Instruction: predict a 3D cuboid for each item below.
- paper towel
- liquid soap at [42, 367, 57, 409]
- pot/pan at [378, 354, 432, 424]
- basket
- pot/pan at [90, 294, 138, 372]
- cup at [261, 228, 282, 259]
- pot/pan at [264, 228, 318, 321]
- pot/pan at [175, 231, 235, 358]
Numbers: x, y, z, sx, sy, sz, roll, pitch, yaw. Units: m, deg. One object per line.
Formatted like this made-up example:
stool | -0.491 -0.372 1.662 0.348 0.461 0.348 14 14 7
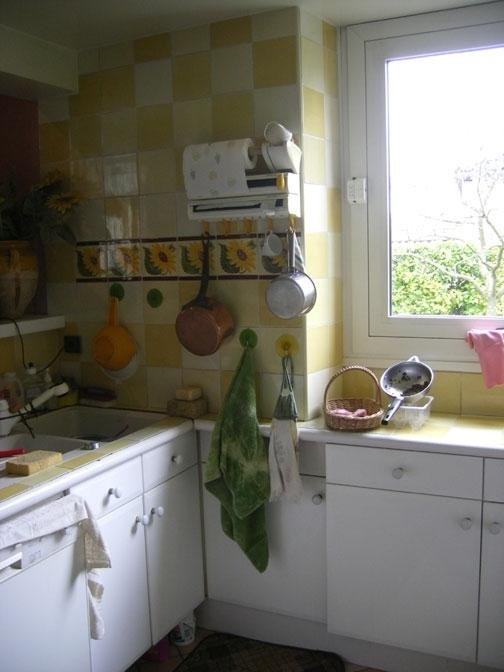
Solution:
paper towel | -0.105 -0.498 1.726 0.233 0.172 0.057 4 22 29
liquid soap | -0.748 0.192 2.128 0.042 0.139 0.055 -2 14 2
pot/pan | 0.473 0.178 1.816 0.163 0.042 0.288 0 40 33
basket | 0.318 0.182 1.831 0.173 0.182 0.184 5 15 27
pot/pan | -0.509 -0.011 2.169 0.172 0.265 0.094 -1 2 18
cup | 0.064 -0.283 1.806 0.058 0.072 0.051 -5 9 -30
pot/pan | 0.113 -0.187 1.740 0.147 0.266 0.055 0 7 22
pot/pan | -0.154 -0.147 1.927 0.203 0.400 0.066 3 9 33
